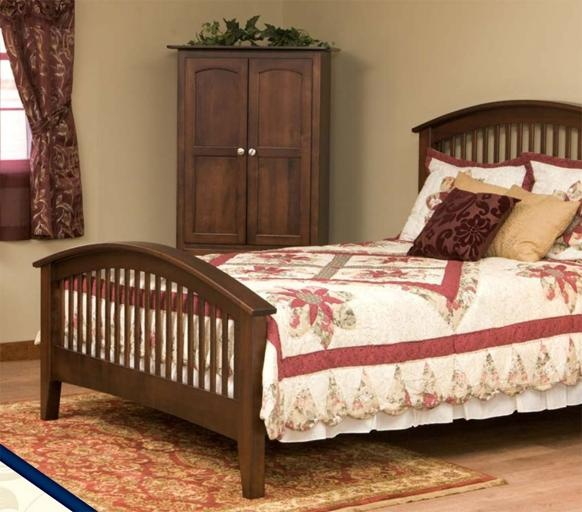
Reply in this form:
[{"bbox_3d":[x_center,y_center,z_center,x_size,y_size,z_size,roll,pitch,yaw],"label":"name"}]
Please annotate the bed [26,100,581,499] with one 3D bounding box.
[{"bbox_3d":[0.391,-0.081,3.097,2.710,1.305,1.666,-4,8,-37],"label":"bed"}]
